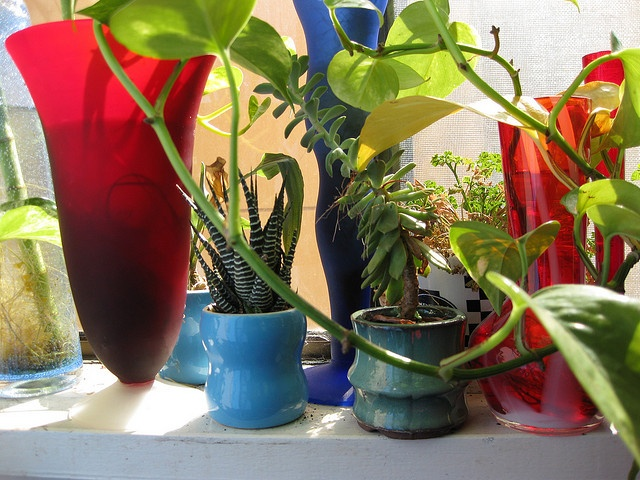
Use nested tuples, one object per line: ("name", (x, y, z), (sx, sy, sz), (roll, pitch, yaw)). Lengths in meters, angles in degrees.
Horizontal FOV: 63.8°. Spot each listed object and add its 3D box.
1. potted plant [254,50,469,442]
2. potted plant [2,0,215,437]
("potted plant", (0.053, 0.007, 0.573), (0.212, 0.418, 0.136), (-6, 6, -7))
("potted plant", (-0.262, -0.035, 0.615), (0.194, 0.419, 0.071), (0, 9, 6))
